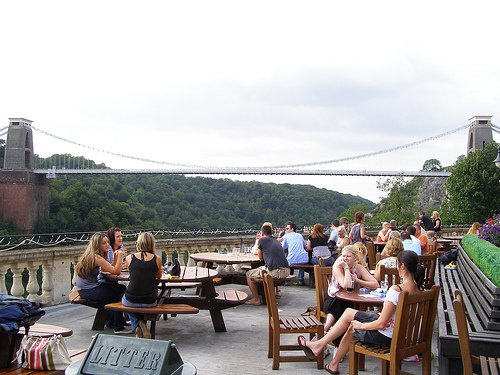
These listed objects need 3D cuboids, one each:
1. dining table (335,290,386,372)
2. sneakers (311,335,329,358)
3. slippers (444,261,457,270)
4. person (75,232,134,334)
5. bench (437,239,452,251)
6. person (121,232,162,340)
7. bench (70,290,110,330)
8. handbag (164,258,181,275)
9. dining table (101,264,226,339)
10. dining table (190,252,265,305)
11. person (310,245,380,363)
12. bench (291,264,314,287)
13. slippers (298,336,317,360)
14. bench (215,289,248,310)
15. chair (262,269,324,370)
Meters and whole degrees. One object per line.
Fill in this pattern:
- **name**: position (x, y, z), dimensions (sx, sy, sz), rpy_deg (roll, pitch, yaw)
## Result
- **dining table**: position (1.319, 1.632, 5.198), dimensions (0.713, 0.555, 0.749), rpy_deg (0, 2, 26)
- **sneakers**: position (0.891, 1.958, 5.535), dimensions (0.131, 0.283, 0.396), rpy_deg (3, 1, 0)
- **slippers**: position (4.349, 1.687, 9.702), dimensions (0.241, 0.078, 0.182), rpy_deg (-4, -7, 34)
- **person**: position (-2.152, 1.394, 6.534), dimensions (0.812, 1.451, 0.573), rpy_deg (3, -10, -27)
- **bench**: position (6.216, 1.849, 14.276), dimensions (0.403, 0.186, 0.570), rpy_deg (-3, -1, 25)
- **person**: position (-1.380, 1.043, 5.757), dimensions (0.492, 0.954, 0.273), rpy_deg (1, -1, -15)
- **bench**: position (-2.328, 1.720, 6.707), dimensions (0.510, 0.732, 0.632), rpy_deg (3, -5, 1)
- **handbag**: position (-1.082, 1.118, 6.284), dimensions (0.212, 0.190, 0.301), rpy_deg (1, -5, -39)
- **dining table**: position (-0.930, 1.510, 6.153), dimensions (1.088, 0.549, 1.111), rpy_deg (0, -4, 3)
- **dining table**: position (-0.367, 1.612, 7.922), dimensions (1.157, 0.621, 1.189), rpy_deg (0, -1, 0)
- **person**: position (1.166, 1.363, 5.557), dimensions (0.792, 1.272, 0.816), rpy_deg (4, -9, 10)
- **bench**: position (1.100, 1.846, 9.753), dimensions (0.593, 0.293, 0.881), rpy_deg (-1, 0, 18)
- **slippers**: position (0.652, 1.823, 5.103), dimensions (0.087, 0.342, 0.132), rpy_deg (-14, 1, 42)
- **bench**: position (-0.287, 1.639, 6.570), dimensions (0.353, 0.095, 0.363), rpy_deg (3, 4, 14)
- **chair**: position (0.636, 1.573, 5.724), dimensions (0.936, 1.393, 0.860), rpy_deg (-2, 3, -3)
